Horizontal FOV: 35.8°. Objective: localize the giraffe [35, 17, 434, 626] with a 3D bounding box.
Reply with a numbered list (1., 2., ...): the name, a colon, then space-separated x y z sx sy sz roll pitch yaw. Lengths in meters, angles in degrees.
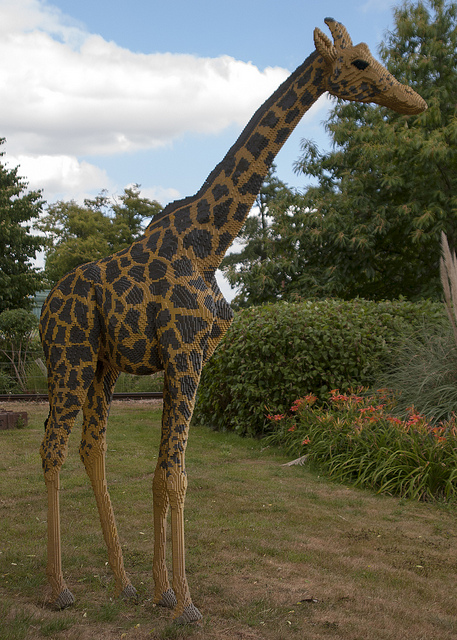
1. giraffe: -0.270 -0.074 4.630 1.976 3.883 0.732 4 3 10
